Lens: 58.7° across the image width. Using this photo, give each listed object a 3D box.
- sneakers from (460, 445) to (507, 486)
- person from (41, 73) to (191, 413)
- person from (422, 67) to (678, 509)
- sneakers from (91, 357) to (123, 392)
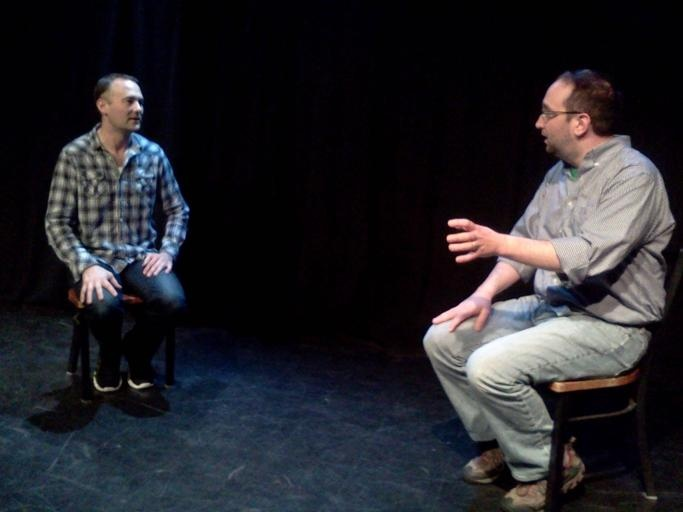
[{"bbox_3d":[0.571,0.849,2.441,0.098,0.056,0.168,9,12,31],"label":"sneakers"},{"bbox_3d":[-1.118,-0.122,3.053,0.663,1.568,0.573,-2,12,-15],"label":"person"},{"bbox_3d":[0.741,0.106,2.314,0.858,1.621,0.580,-5,13,-30],"label":"person"},{"bbox_3d":[-1.169,0.587,3.042,0.147,0.177,0.147,-3,12,-23],"label":"sneakers"}]
